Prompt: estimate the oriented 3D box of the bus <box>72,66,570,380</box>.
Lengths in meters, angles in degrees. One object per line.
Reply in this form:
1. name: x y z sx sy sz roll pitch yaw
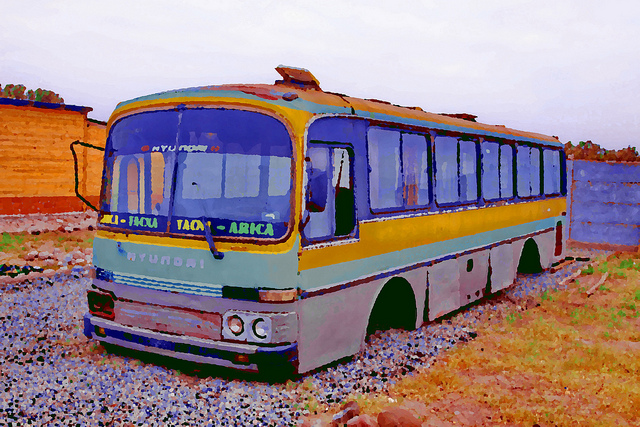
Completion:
1. bus: 1.705 0.041 12.138 4.383 4.317 12.545 3 6 37
